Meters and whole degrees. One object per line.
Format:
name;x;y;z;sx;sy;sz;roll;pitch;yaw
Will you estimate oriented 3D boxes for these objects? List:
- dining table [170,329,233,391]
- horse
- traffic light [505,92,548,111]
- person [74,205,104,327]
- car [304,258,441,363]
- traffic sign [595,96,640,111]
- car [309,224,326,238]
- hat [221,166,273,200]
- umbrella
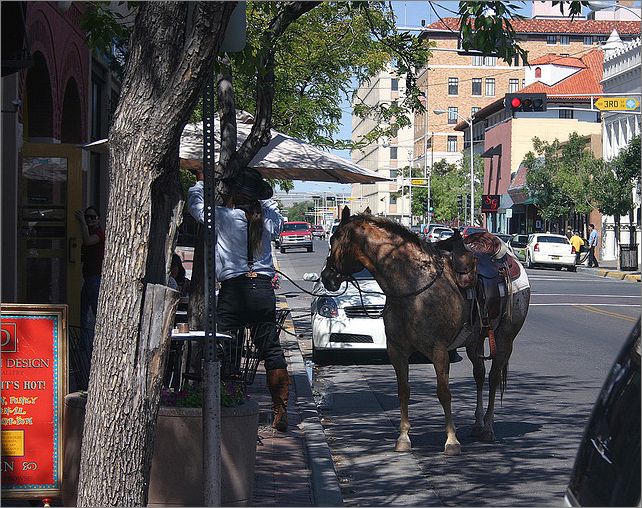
dining table;-1.498;1.129;12.531;0.830;0.601;0.788;3;-5;-32
horse;1.227;0.791;12.649;2.023;2.536;1.127;0;0;-37
traffic light;5.861;-4.431;34.276;1.157;0.542;1.202;0;0;8
person;-2.986;0.164;15.302;0.330;1.566;0.715;0;0;-12
car;0.606;0.704;14.073;1.302;1.099;2.485;0;-6;-1
traffic sign;9.717;-4.969;39.197;1.337;0.431;0.026;-2;4;-11
car;-0.391;-2.243;116.975;1.101;1.042;2.475;0;-3;-1
hat;-0.770;-0.710;12.418;0.388;0.148;0.355;40;18;27
umbrella;-0.420;-1.354;14.699;2.609;0.895;2.915;0;0;-3
